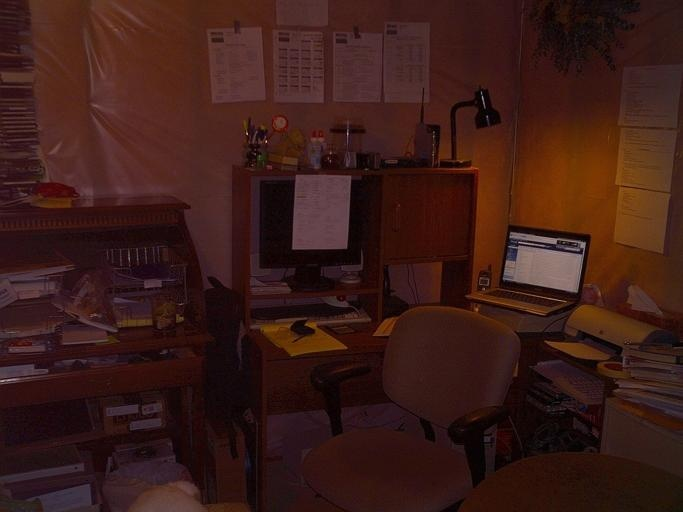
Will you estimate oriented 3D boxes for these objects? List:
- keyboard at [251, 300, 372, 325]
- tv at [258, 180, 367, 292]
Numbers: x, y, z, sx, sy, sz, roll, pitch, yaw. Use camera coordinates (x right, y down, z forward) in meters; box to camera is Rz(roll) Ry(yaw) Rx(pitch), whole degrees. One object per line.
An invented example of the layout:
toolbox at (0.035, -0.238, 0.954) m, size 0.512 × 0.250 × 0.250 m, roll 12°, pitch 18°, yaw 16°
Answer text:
keyboard at (-0.174, 0.280, 2.879) m, size 0.669 × 0.087 × 0.374 m, roll -3°, pitch 12°, yaw -29°
tv at (-0.157, -0.120, 2.819) m, size 0.549 × 0.518 × 0.215 m, roll 0°, pitch 19°, yaw -9°
